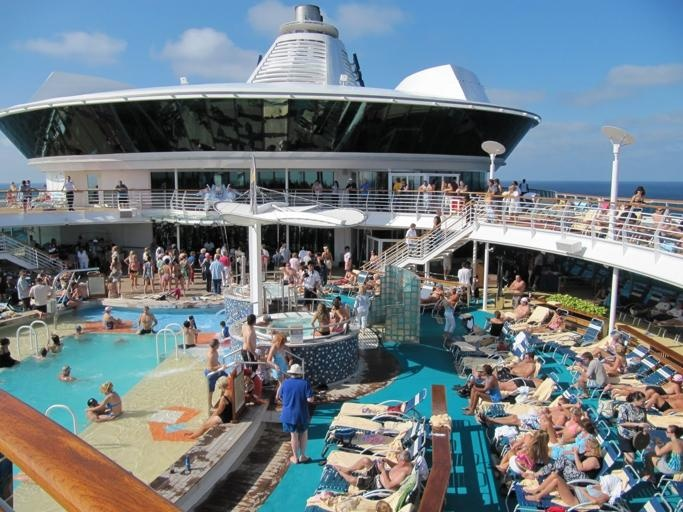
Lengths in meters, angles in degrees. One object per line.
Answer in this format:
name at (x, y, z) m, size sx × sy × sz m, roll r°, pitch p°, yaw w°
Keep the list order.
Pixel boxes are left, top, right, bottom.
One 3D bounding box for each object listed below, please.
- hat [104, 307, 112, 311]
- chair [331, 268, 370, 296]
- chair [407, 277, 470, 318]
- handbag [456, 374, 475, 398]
hat at (-7.910, 1.777, 18.275) m, size 0.260 × 0.064 × 0.253 m, roll 6°, pitch 15°, yaw 12°
chair at (0.273, 0.956, 19.873) m, size 0.891 × 0.482 × 1.214 m, roll 5°, pitch 11°, yaw 32°
chair at (3.689, 1.412, 19.350) m, size 1.645 × 0.718 × 1.548 m, roll -1°, pitch 1°, yaw -35°
handbag at (2.755, 2.931, 11.959) m, size 0.176 × 0.335 × 0.454 m, roll 31°, pitch -21°, yaw -27°
